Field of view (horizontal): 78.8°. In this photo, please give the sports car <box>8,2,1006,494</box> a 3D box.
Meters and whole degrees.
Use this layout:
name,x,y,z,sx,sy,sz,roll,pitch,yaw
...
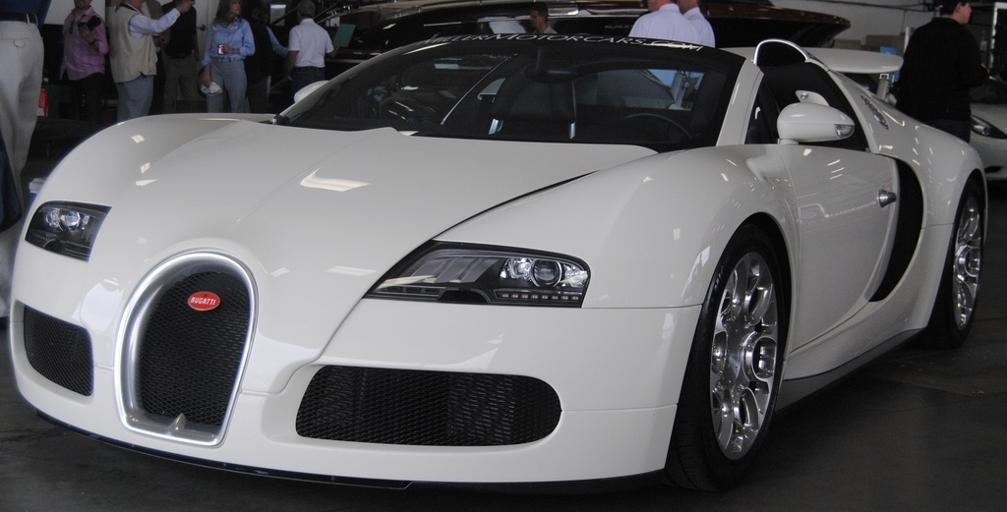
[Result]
name,x,y,z,sx,sy,sz,roll,pitch,yaw
sports car,0.672,-0.358,3.520,2.552,1.206,4.414,4,5,39
